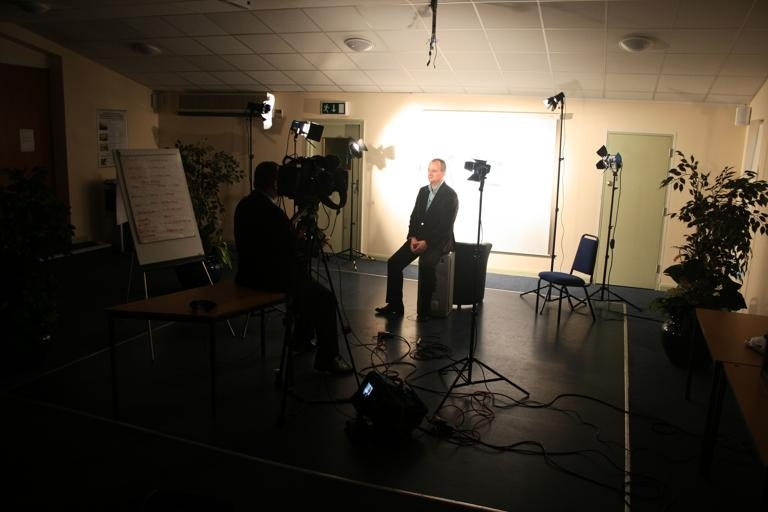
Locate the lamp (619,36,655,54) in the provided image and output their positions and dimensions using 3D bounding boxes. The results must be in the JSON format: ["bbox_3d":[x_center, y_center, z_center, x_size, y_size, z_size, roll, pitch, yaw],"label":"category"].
[{"bbox_3d":[3.032,-2.570,6.597,0.375,0.114,0.365,10,12,25],"label":"lamp"}]

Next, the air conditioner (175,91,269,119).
[{"bbox_3d":[-3.117,-2.904,10.423,1.884,0.531,0.218,9,11,20],"label":"air conditioner"}]

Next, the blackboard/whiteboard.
[{"bbox_3d":[-2.349,-0.536,5.747,0.514,1.174,0.776,13,13,41],"label":"blackboard/whiteboard"}]

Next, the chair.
[{"bbox_3d":[2.352,0.257,7.018,0.622,1.074,0.594,-1,10,-14],"label":"chair"}]

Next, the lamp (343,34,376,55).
[{"bbox_3d":[-0.349,-2.938,7.573,0.419,0.126,0.604,4,11,-6],"label":"lamp"}]
